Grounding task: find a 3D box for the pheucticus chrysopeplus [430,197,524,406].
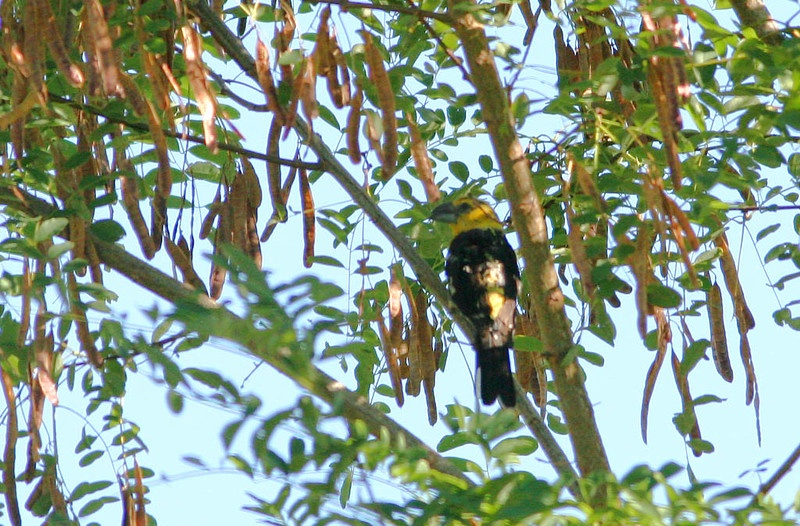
[{"bbox_3d":[0.404,0.219,9.985,0.522,1.522,0.657,22,-52,-26],"label":"pheucticus chrysopeplus"}]
